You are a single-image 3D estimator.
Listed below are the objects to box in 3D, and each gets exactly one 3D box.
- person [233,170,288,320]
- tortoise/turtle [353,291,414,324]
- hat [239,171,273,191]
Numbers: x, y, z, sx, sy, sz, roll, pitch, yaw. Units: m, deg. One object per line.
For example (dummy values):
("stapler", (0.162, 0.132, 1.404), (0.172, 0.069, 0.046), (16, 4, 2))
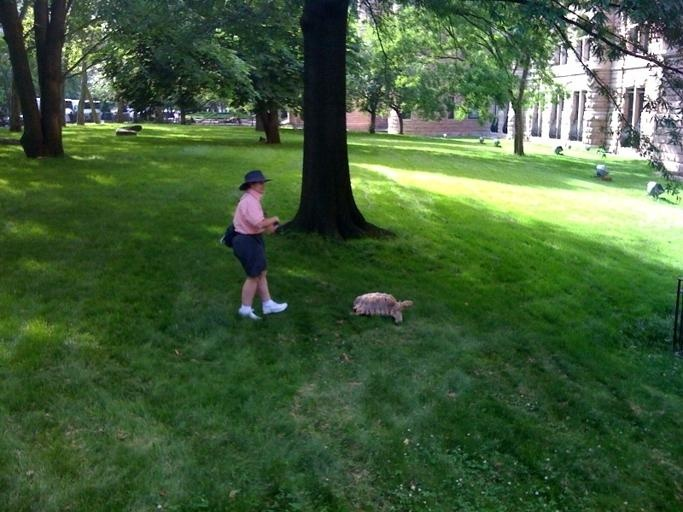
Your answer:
("person", (-1.488, -0.198, 9.496), (1.072, 2.468, 0.798), (-1, 1, -28))
("tortoise/turtle", (0.750, 0.948, 10.229), (1.123, 0.596, 1.023), (4, 11, 12))
("hat", (-1.449, -1.310, 9.217), (0.500, 0.221, 0.469), (-22, 8, -14))
